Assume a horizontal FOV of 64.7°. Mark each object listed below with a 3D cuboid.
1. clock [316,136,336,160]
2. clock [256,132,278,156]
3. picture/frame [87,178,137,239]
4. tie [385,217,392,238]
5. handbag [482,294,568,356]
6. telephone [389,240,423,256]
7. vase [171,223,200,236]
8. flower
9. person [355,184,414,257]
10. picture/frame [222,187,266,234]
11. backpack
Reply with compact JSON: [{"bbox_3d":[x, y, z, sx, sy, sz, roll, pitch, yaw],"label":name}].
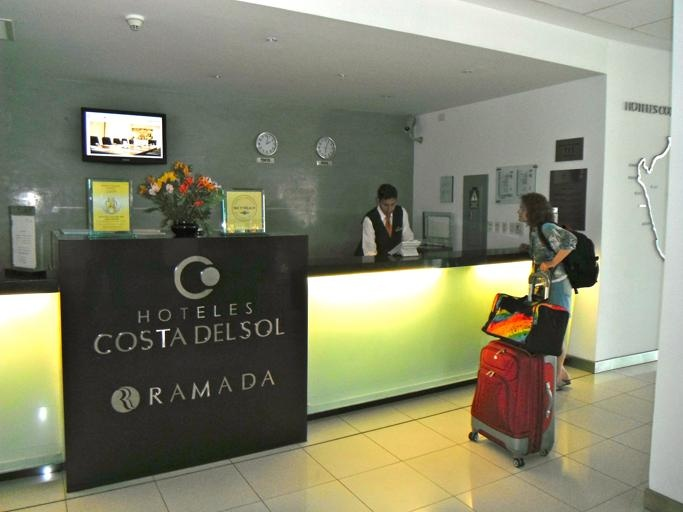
[{"bbox_3d":[-0.214,-1.556,7.831,0.354,0.342,0.087,-11,17,-40],"label":"clock"},{"bbox_3d":[-1.036,-1.545,7.399,0.283,0.289,0.080,-19,13,-41],"label":"clock"},{"bbox_3d":[-1.691,-0.342,3.957,0.444,0.620,0.066,-1,2,-19],"label":"picture/frame"},{"bbox_3d":[0.573,-0.359,6.509,0.095,0.203,0.040,-3,-1,-12],"label":"tie"},{"bbox_3d":[1.453,0.558,4.372,0.318,0.427,0.615,11,-1,-22],"label":"handbag"},{"bbox_3d":[0.595,-0.048,5.238,0.228,0.141,0.166,-5,26,-33],"label":"telephone"},{"bbox_3d":[-1.195,-0.201,4.141,0.196,0.108,0.103,-5,14,-22],"label":"vase"},{"bbox_3d":[-1.223,-0.431,4.216,0.490,0.500,0.444,-2,-7,43],"label":"flower"},{"bbox_3d":[0.521,-0.408,6.326,0.624,0.897,0.597,1,13,2],"label":"person"},{"bbox_3d":[-0.743,-0.372,4.361,0.341,0.351,0.204,1,7,16],"label":"picture/frame"},{"bbox_3d":[2.276,-0.095,5.344,0.548,0.507,0.419,34,13,37],"label":"backpack"}]
